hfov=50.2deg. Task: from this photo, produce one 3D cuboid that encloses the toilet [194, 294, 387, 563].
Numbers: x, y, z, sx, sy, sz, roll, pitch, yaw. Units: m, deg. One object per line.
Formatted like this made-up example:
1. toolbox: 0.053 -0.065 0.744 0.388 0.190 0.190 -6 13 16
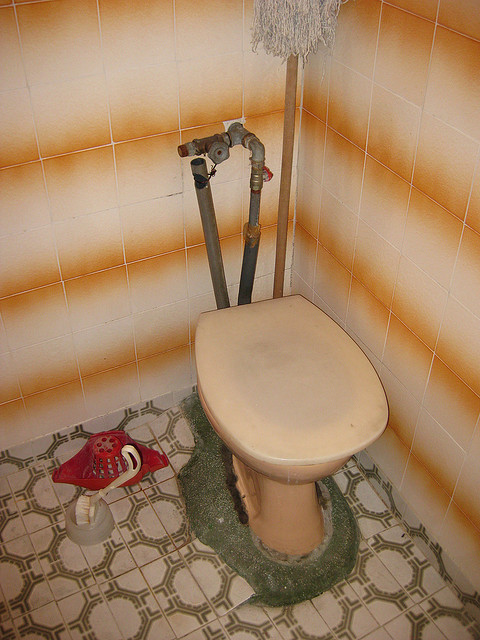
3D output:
1. toilet: 0.103 0.278 1.237 0.385 0.445 0.506 -9 34 -14
